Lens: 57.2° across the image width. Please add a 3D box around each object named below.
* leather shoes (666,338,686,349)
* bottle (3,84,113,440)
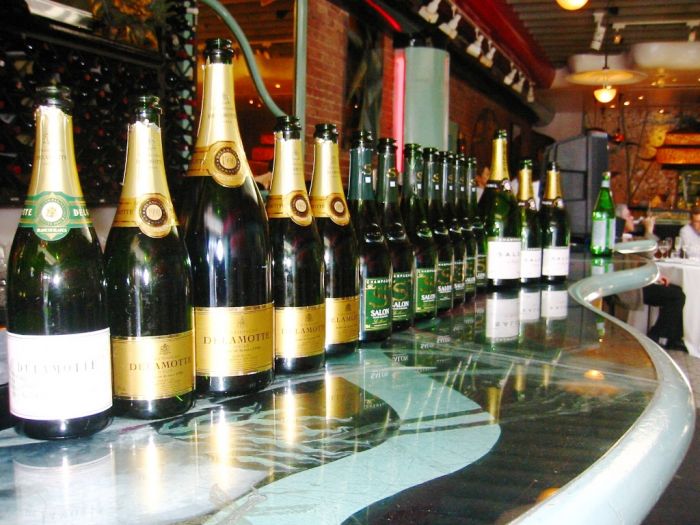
[{"bbox_3d":[2.366,0.595,4.674,0.141,0.089,0.050,-2,5,7],"label":"leather shoes"},{"bbox_3d":[-0.292,0.001,0.630,0.096,0.335,0.081,-5,9,-20],"label":"bottle"}]
